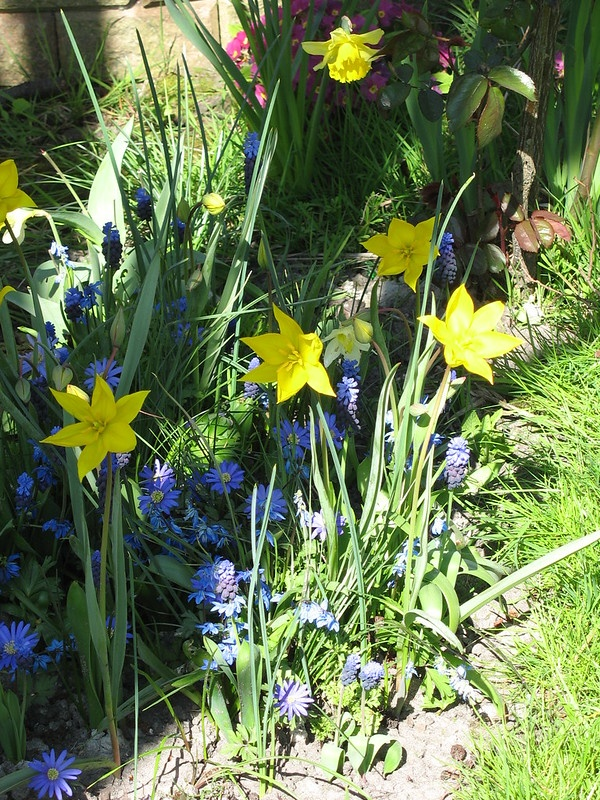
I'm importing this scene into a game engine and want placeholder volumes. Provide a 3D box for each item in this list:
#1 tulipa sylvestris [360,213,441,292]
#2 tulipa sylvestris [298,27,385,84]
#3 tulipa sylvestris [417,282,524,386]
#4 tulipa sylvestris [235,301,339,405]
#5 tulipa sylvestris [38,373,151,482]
[{"bbox_3d":[0.158,-0.206,1.158,0.098,0.117,0.129,35,19,5],"label":"tulipa sylvestris"},{"bbox_3d":[0.088,-0.685,1.448,0.084,0.074,0.094,-8,0,35],"label":"tulipa sylvestris"},{"bbox_3d":[0.211,-0.078,0.958,0.125,0.059,0.116,21,-2,-27],"label":"tulipa sylvestris"},{"bbox_3d":[-0.014,-0.049,0.952,0.122,0.125,0.056,17,25,24],"label":"tulipa sylvestris"},{"bbox_3d":[-0.201,0.030,0.829,0.120,0.098,0.058,-29,-4,4],"label":"tulipa sylvestris"}]
